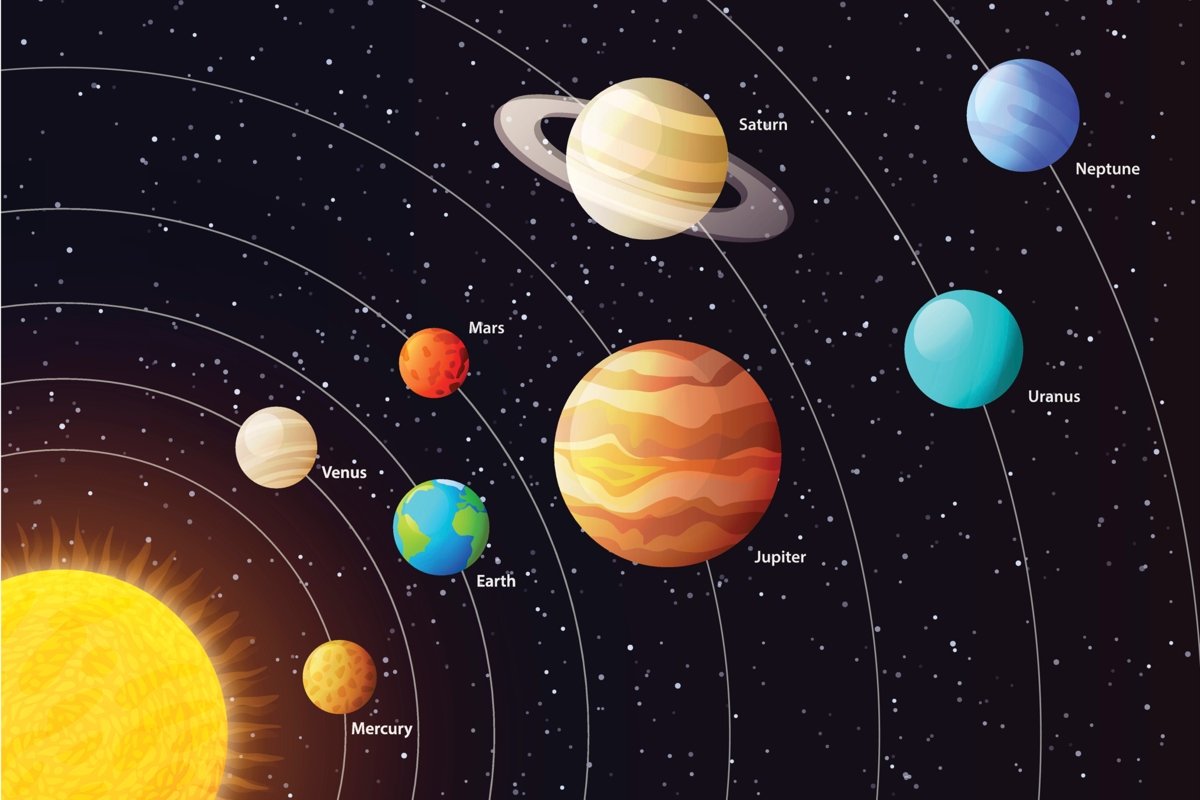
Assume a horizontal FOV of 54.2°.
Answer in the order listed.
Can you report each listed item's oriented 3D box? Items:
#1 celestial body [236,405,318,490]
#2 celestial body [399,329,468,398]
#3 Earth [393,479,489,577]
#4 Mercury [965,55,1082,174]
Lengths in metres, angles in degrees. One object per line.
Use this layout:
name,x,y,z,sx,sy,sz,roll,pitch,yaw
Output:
celestial body,-2.008,0.293,7.345,0.399,0.619,0.458,0,-1,12
celestial body,-1.031,-0.184,7.319,0.353,0.513,0.369,8,-18,-33
Earth,-1.016,0.812,7.439,0.552,0.786,0.611,2,38,-5
Mercury,2.562,-1.739,7.318,0.516,0.731,0.343,5,4,-3
